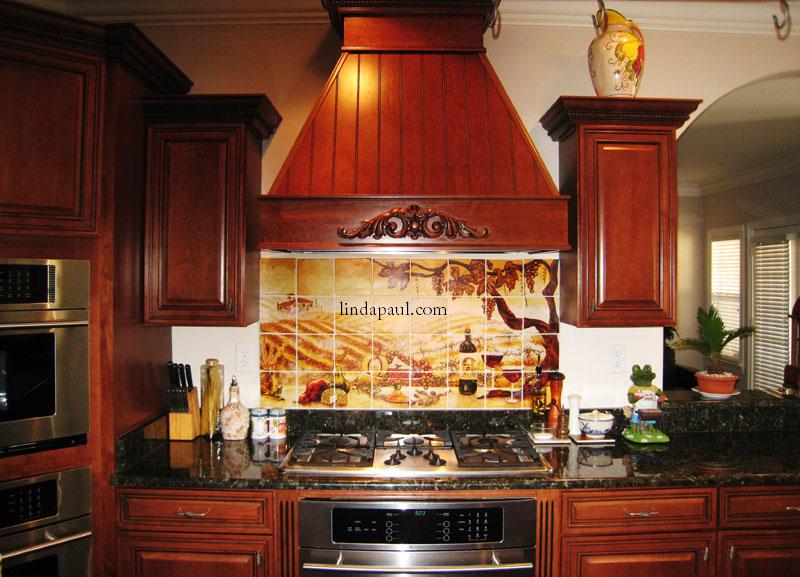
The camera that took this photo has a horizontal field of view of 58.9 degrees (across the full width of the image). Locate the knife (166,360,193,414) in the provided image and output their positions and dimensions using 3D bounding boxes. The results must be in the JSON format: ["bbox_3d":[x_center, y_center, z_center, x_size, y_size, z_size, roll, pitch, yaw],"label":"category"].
[{"bbox_3d":[-1.179,0.530,3.815,0.125,0.258,0.089,2,-5,-16],"label":"knife"}]

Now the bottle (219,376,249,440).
[{"bbox_3d":[-0.890,0.657,3.857,0.161,0.329,0.118,2,-5,-15],"label":"bottle"}]

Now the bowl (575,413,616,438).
[{"bbox_3d":[1.052,0.723,3.794,0.154,0.094,0.151,1,-11,0],"label":"bowl"}]

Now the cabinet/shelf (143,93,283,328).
[{"bbox_3d":[-1.009,-0.379,3.835,0.654,1.137,0.446,2,3,5],"label":"cabinet/shelf"}]

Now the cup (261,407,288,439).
[{"bbox_3d":[-0.667,0.735,3.843,0.163,0.159,0.102,-1,-5,-1],"label":"cup"}]

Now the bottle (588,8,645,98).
[{"bbox_3d":[1.110,-1.215,3.638,0.270,0.499,0.175,-1,-5,15],"label":"bottle"}]

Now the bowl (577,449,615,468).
[{"bbox_3d":[0.988,0.856,3.585,0.172,0.057,0.212,-1,-5,12],"label":"bowl"}]

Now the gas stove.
[{"bbox_3d":[0.081,0.840,3.624,1.303,0.181,0.500,0,-5,-1],"label":"gas stove"}]

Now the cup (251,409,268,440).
[{"bbox_3d":[-0.758,0.731,3.835,0.101,0.152,0.151,1,-5,-5],"label":"cup"}]

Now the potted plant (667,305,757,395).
[{"bbox_3d":[1.779,0.355,4.067,0.403,0.518,0.272,1,-5,-10],"label":"potted plant"}]
